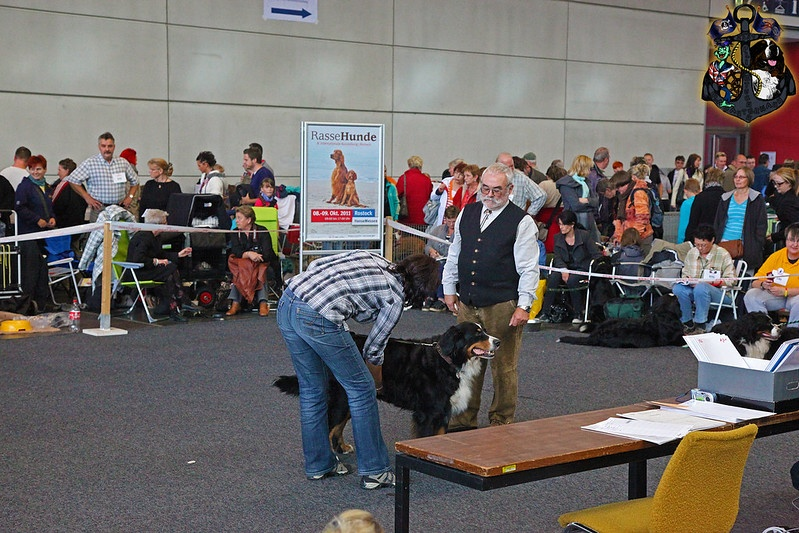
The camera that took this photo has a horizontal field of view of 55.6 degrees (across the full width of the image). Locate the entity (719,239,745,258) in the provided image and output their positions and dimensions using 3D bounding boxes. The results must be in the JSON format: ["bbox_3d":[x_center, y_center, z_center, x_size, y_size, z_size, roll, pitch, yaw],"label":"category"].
[{"bbox_3d":[4.899,-0.257,11.198,0.096,0.186,0.261,-9,11,-40],"label":"entity"}]

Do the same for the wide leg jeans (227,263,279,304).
[{"bbox_3d":[-2.382,0.202,12.037,0.572,0.680,0.282,-2,10,-19],"label":"wide leg jeans"}]

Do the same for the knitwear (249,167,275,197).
[{"bbox_3d":[-2.468,-1.510,13.658,0.328,0.580,0.549,5,-6,-34],"label":"knitwear"}]

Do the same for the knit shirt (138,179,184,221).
[{"bbox_3d":[-4.175,-1.097,13.335,0.815,0.913,0.343,1,12,-10],"label":"knit shirt"}]

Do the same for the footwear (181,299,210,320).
[{"bbox_3d":[-3.160,0.666,11.731,0.426,0.207,0.166,16,23,-6],"label":"footwear"}]

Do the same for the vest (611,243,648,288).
[{"bbox_3d":[3.568,-0.054,11.736,0.606,0.697,0.441,0,23,17],"label":"vest"}]

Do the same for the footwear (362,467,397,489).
[{"bbox_3d":[-0.158,1.675,6.028,0.320,0.149,0.113,-5,6,-29],"label":"footwear"}]

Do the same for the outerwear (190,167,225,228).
[{"bbox_3d":[-3.395,-1.291,13.714,0.849,0.817,0.437,-30,-21,38],"label":"outerwear"}]

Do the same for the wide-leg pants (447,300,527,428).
[{"bbox_3d":[0.673,0.882,6.986,0.621,1.348,0.436,5,-10,-41],"label":"wide-leg pants"}]

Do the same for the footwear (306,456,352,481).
[{"bbox_3d":[-0.562,1.660,6.261,0.379,0.188,0.139,-13,20,-43],"label":"footwear"}]

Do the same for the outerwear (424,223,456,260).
[{"bbox_3d":[0.637,-0.389,11.759,0.583,0.602,0.339,5,-1,42],"label":"outerwear"}]

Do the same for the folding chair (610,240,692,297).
[{"bbox_3d":[3.755,0.179,11.362,0.981,1.168,1.031,9,8,43],"label":"folding chair"}]

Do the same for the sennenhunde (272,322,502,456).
[{"bbox_3d":[-0.092,1.069,6.496,1.841,1.096,0.465,1,0,4],"label":"sennenhunde"}]

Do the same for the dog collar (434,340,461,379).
[{"bbox_3d":[0.398,0.774,6.309,0.066,0.278,0.201,-39,5,-3],"label":"dog collar"}]

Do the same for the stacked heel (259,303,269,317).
[{"bbox_3d":[-2.145,0.691,12.056,0.171,0.217,0.507,-1,-4,-7],"label":"stacked heel"}]
